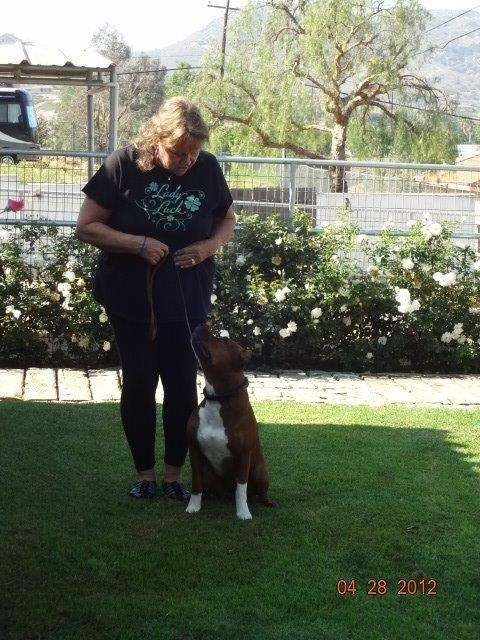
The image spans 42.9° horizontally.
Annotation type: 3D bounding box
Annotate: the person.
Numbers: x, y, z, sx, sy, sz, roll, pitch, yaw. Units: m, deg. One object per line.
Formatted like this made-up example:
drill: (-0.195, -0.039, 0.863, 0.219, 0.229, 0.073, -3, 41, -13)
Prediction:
person: (-0.372, -0.015, 2.549, 0.501, 1.550, 0.547, 5, 3, 19)

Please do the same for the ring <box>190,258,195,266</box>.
ring: (-0.191, -0.230, 2.437, 0.008, 0.024, 0.018, -3, -1, 19)

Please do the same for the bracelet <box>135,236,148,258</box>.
bracelet: (-0.374, -0.280, 2.339, 0.023, 0.061, 0.045, 24, -2, -2)

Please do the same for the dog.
dog: (-0.027, 0.404, 2.501, 0.356, 0.759, 0.283, 4, 3, 5)
